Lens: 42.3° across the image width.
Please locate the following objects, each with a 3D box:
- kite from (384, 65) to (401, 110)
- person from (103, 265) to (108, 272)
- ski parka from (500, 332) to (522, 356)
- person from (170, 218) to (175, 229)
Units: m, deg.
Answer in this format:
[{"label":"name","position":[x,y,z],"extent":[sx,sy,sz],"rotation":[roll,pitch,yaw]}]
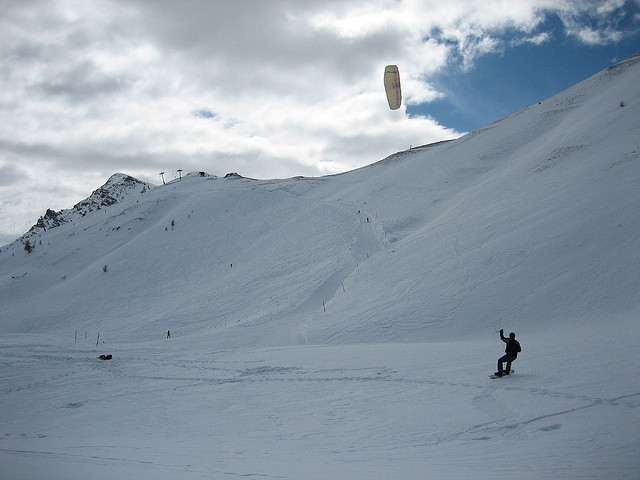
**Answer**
[{"label":"kite","position":[5.185,-11.088,58.941],"extent":[1.337,0.411,3.456],"rotation":[-4,-19,7]},{"label":"person","position":[-17.624,2.364,68.302],"extent":[0.377,0.566,0.869],"rotation":[-15,-1,-11]},{"label":"ski parka","position":[10.028,5.423,43.379],"extent":[0.774,1.301,0.525],"rotation":[-16,-1,6]},{"label":"person","position":[-13.306,-1.502,75.749],"extent":[0.401,0.690,0.473],"rotation":[4,-7,-25]}]
